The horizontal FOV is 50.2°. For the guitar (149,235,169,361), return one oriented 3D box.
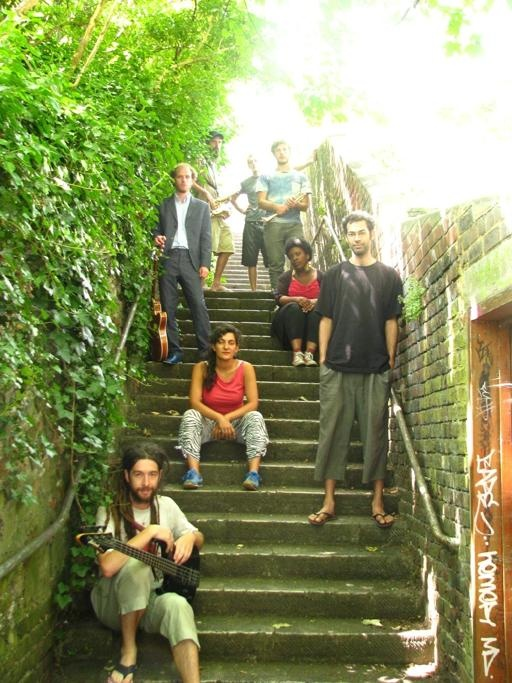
[{"bbox_3d":[-0.891,-0.345,5.008,0.115,1.063,0.408,-4,15,-21],"label":"guitar"}]

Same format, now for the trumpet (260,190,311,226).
[{"bbox_3d":[0.349,-1.584,6.506,0.482,0.176,0.312,-8,9,12],"label":"trumpet"}]

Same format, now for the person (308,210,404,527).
[{"bbox_3d":[0.688,0.169,4.006,0.660,2.195,0.713,0,1,8],"label":"person"}]

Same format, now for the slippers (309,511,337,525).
[{"bbox_3d":[0.438,1.195,3.697,0.067,0.057,0.172,-12,-15,42],"label":"slippers"}]

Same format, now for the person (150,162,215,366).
[{"bbox_3d":[-0.721,-0.712,5.209,0.543,1.855,0.546,1,2,0],"label":"person"}]

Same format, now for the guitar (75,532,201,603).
[{"bbox_3d":[-0.568,1.089,2.752,0.675,0.312,0.081,34,-46,-29],"label":"guitar"}]

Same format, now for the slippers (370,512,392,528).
[{"bbox_3d":[0.856,1.221,3.707,0.150,0.072,0.126,5,-3,19],"label":"slippers"}]

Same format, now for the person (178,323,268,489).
[{"bbox_3d":[-0.237,0.456,4.082,0.631,1.155,1.004,0,5,-5],"label":"person"}]

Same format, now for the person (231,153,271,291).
[{"bbox_3d":[0.007,-1.583,7.331,0.619,1.964,0.501,4,6,13],"label":"person"}]

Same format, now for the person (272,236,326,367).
[{"bbox_3d":[0.421,-0.357,5.405,0.432,1.251,0.566,0,1,11],"label":"person"}]

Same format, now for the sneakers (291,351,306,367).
[{"bbox_3d":[0.407,0.169,5.187,0.107,0.131,0.316,0,-7,-5],"label":"sneakers"}]
